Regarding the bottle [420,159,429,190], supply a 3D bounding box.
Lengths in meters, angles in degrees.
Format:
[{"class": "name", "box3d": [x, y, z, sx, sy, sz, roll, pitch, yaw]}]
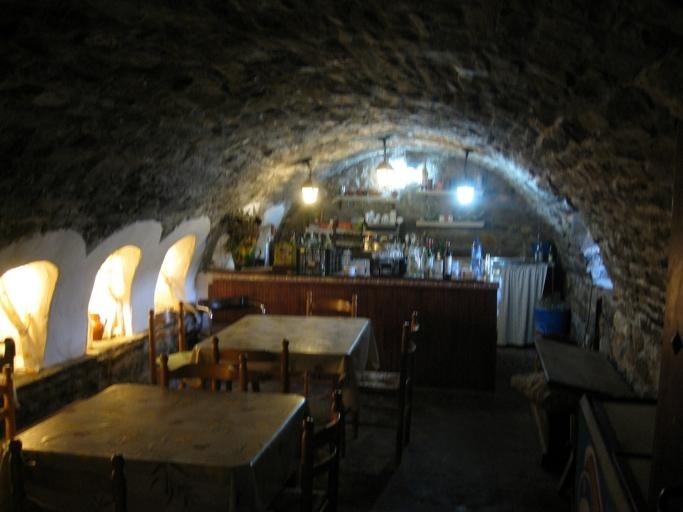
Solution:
[{"class": "bottle", "box3d": [1.277, -1.215, 7.739, 0.103, 0.424, 0.094, 1, 7, 6]}]

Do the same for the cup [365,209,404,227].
[{"class": "cup", "box3d": [0.638, -0.560, 7.981, 0.403, 0.218, 0.304, 4, 4, 10]}]

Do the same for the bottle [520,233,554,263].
[{"class": "bottle", "box3d": [2.899, -0.090, 7.469, 0.249, 0.370, 0.496, -2, 8, -21]}]

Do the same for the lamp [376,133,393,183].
[{"class": "lamp", "box3d": [0.518, -1.129, 6.135, 0.206, 0.647, 0.217, 8, -9, -31]}]

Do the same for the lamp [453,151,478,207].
[{"class": "lamp", "box3d": [1.765, -1.033, 7.246, 0.298, 0.734, 1.093, 2, 8, 14]}]

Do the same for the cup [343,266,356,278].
[{"class": "cup", "box3d": [0.092, 0.213, 6.497, 0.165, 0.138, 0.098, 2, 3, 31]}]

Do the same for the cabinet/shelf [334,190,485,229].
[{"class": "cabinet/shelf", "box3d": [0.910, -0.722, 7.867, 2.108, 0.549, 0.314, 2, 7, 6]}]
